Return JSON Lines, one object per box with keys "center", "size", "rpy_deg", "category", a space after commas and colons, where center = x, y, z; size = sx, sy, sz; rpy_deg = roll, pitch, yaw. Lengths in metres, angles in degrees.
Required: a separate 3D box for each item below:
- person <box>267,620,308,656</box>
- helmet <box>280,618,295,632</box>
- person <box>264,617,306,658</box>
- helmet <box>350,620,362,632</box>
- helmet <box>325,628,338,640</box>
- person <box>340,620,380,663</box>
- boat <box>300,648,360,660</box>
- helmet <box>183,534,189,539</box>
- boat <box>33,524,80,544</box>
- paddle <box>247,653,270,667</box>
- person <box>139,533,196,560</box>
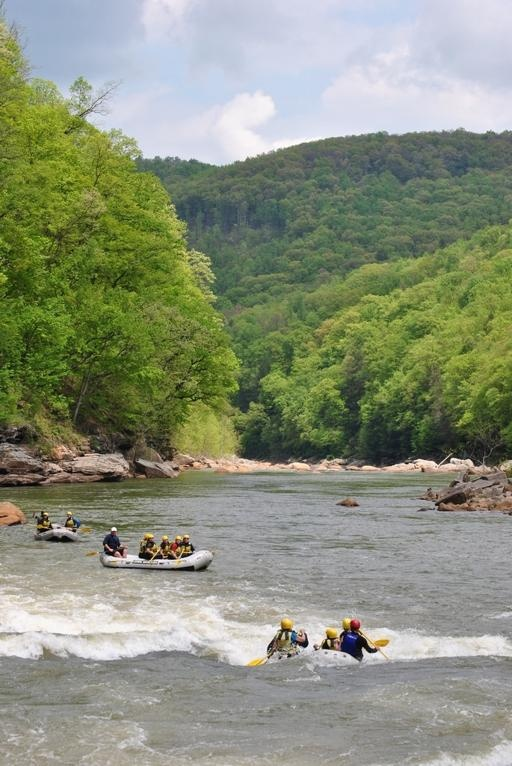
{"center": [0.597, 4.840, 23.914], "size": [0.605, 1.082, 0.411], "rpy_deg": [5, 0, 7], "category": "person"}
{"center": [0.586, 4.529, 23.685], "size": [0.233, 0.231, 0.299], "rpy_deg": [5, -9, 7], "category": "helmet"}
{"center": [0.557, 4.750, 23.613], "size": [1.069, 0.644, 0.392], "rpy_deg": [-1, 0, -44], "category": "person"}
{"center": [1.872, 4.500, 23.621], "size": [0.162, 0.217, 0.217], "rpy_deg": [8, 26, 5], "category": "helmet"}
{"center": [1.445, 4.698, 23.718], "size": [0.193, 0.221, 0.241], "rpy_deg": [4, 9, -9], "category": "helmet"}
{"center": [1.885, 4.773, 23.512], "size": [0.724, 0.664, 0.505], "rpy_deg": [-2, 0, 8], "category": "person"}
{"center": [1.372, 5.057, 23.460], "size": [1.132, 0.205, 0.332], "rpy_deg": [-2, 0, 27], "category": "boat"}
{"center": [-1.715, 3.894, 31.877], "size": [0.092, 0.116, 0.119], "rpy_deg": [5, -24, -7], "category": "helmet"}
{"center": [-5.522, 4.305, 35.509], "size": [1.220, 0.448, 0.449], "rpy_deg": [-1, 0, -12], "category": "boat"}
{"center": [0.021, 5.076, 23.107], "size": [0.368, 0.161, 0.617], "rpy_deg": [-2, -1, 18], "category": "paddle"}
{"center": [-2.204, 4.214, 31.950], "size": [0.847, 0.344, 0.826], "rpy_deg": [-7, -4, 31], "category": "person"}
